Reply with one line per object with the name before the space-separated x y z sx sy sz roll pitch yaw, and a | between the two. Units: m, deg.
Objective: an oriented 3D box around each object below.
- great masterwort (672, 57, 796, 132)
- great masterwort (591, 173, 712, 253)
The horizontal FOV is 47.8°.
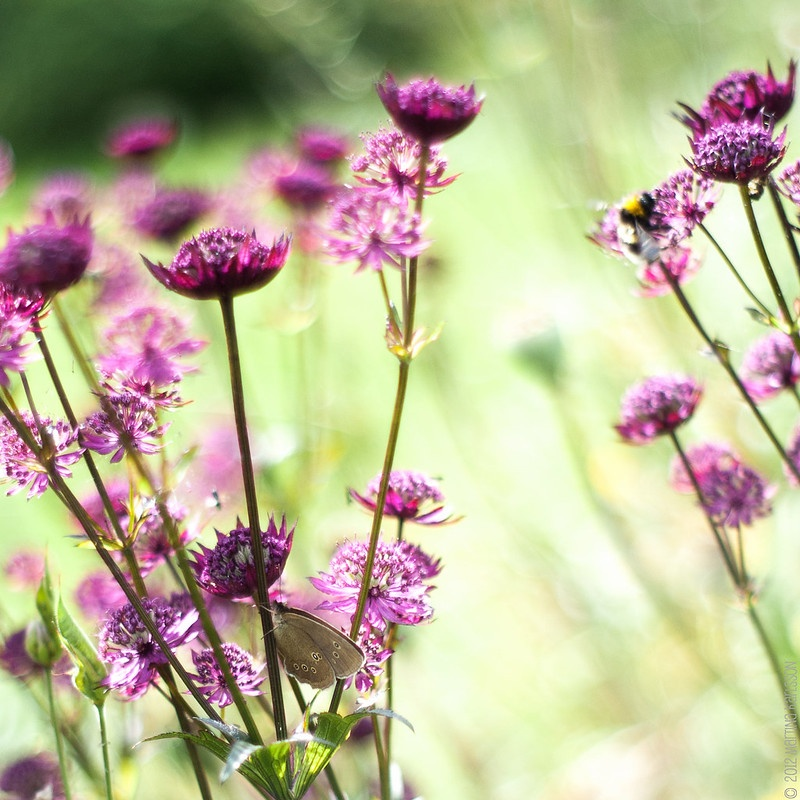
great masterwort | 0.254 -0.227 0.695 0.068 0.033 0.074 -29 -4 7
great masterwort | 0.199 -0.145 0.698 0.064 0.079 0.026 -16 -54 47
